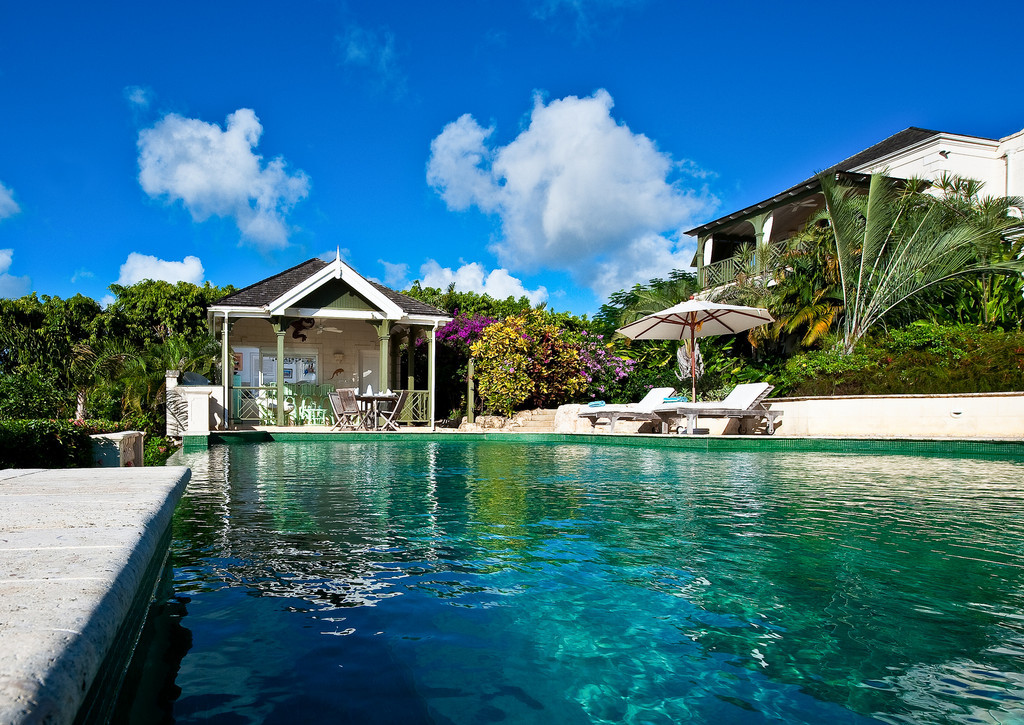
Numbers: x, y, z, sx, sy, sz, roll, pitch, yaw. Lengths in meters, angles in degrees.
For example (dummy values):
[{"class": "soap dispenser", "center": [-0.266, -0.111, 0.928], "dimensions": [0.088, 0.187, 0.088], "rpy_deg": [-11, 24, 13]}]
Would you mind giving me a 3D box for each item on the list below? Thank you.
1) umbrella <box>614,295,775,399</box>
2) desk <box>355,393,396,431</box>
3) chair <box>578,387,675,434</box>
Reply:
[{"class": "umbrella", "center": [5.311, -1.126, 20.377], "dimensions": [3.890, 2.440, 3.474], "rpy_deg": [0, -15, -6]}, {"class": "desk", "center": [-4.008, 1.440, 20.484], "dimensions": [1.104, 1.198, 1.990], "rpy_deg": [0, -5, -10]}, {"class": "chair", "center": [3.373, 1.261, 18.921], "dimensions": [2.137, 0.875, 1.432], "rpy_deg": [2, -5, -22]}]
